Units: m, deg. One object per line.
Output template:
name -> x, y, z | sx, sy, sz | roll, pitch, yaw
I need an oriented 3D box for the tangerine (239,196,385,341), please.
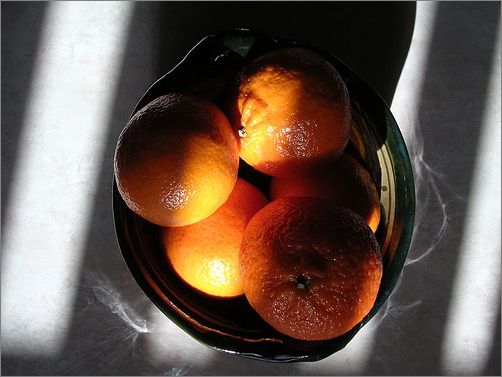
tangerine -> 0.079, 0.110, 0.748 | 0.198, 0.078, 0.194 | 19, 87, 0

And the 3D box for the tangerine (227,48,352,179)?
tangerine -> 0.055, -0.113, 0.775 | 0.176, 0.055, 0.185 | -18, 88, -2

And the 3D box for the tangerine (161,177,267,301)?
tangerine -> -0.053, 0.080, 0.874 | 0.159, 0.118, 0.154 | -42, 95, -5

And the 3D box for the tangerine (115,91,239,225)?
tangerine -> -0.098, -0.043, 0.798 | 0.158, 0.169, 0.177 | 33, 106, -5

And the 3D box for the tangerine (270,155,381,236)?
tangerine -> 0.127, -0.004, 0.862 | 0.125, 0.120, 0.130 | 0, 97, 3
